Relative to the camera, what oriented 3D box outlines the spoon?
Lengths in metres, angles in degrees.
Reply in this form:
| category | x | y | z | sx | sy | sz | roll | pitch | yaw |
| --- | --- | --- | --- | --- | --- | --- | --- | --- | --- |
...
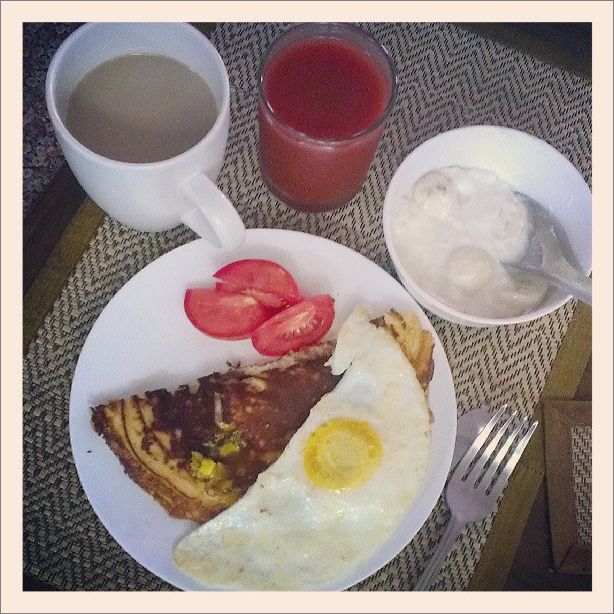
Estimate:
| category | x | y | z | sx | sy | sz | roll | pitch | yaw |
| --- | --- | --- | --- | --- | --- | --- | --- | --- | --- |
| spoon | 0.403 | -0.118 | 1.081 | 0.085 | 0.037 | 0.263 | -30 | 61 | 11 |

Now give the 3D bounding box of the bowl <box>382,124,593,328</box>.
| category | x | y | z | sx | sy | sz | roll | pitch | yaw |
| --- | --- | --- | --- | --- | --- | --- | --- | --- | --- |
| bowl | 0.369 | -0.154 | 1.172 | 0.292 | 0.153 | 0.392 | 0 | 89 | 1 |

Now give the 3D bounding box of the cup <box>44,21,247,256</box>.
| category | x | y | z | sx | sy | sz | roll | pitch | yaw |
| --- | --- | --- | --- | --- | --- | --- | --- | --- | --- |
| cup | -0.229 | -0.231 | 1.018 | 0.231 | 0.245 | 0.403 | -28 | 83 | -14 |

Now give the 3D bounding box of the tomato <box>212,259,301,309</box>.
| category | x | y | z | sx | sy | sz | roll | pitch | yaw |
| --- | --- | --- | --- | --- | --- | --- | --- | --- | --- |
| tomato | -0.089 | -0.020 | 1.160 | 0.190 | 0.155 | 0.055 | -2 | 66 | -33 |

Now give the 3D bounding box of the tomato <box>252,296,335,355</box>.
| category | x | y | z | sx | sy | sz | roll | pitch | yaw |
| --- | --- | --- | --- | --- | --- | --- | --- | --- | --- |
| tomato | -0.018 | 0.036 | 1.110 | 0.084 | 0.037 | 0.161 | 44 | 92 | 0 |

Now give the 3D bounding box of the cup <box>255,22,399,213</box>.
| category | x | y | z | sx | sy | sz | roll | pitch | yaw |
| --- | --- | --- | --- | --- | --- | --- | --- | --- | --- |
| cup | 0.025 | -0.296 | 1.052 | 0.207 | 0.274 | 0.306 | -1 | 88 | -2 |
